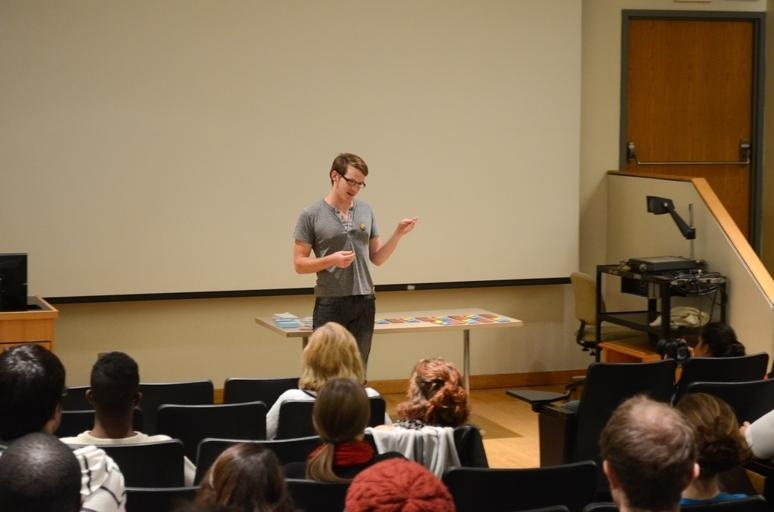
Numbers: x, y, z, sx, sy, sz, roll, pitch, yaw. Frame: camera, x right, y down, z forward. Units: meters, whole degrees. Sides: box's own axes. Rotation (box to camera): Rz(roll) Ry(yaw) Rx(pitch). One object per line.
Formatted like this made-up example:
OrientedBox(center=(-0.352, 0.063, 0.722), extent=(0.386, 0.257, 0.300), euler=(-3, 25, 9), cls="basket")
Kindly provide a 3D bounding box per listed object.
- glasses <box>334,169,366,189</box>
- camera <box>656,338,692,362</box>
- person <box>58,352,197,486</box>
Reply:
OrientedBox(center=(-0.296, -0.519, 4.327), extent=(0.137, 0.042, 0.141), euler=(8, 28, -44), cls="glasses")
OrientedBox(center=(1.925, 0.621, 4.171), extent=(0.219, 0.136, 0.218), euler=(0, 3, -27), cls="camera")
OrientedBox(center=(-1.209, 0.736, 2.804), extent=(0.760, 0.597, 0.351), euler=(-1, 15, -10), cls="person")
